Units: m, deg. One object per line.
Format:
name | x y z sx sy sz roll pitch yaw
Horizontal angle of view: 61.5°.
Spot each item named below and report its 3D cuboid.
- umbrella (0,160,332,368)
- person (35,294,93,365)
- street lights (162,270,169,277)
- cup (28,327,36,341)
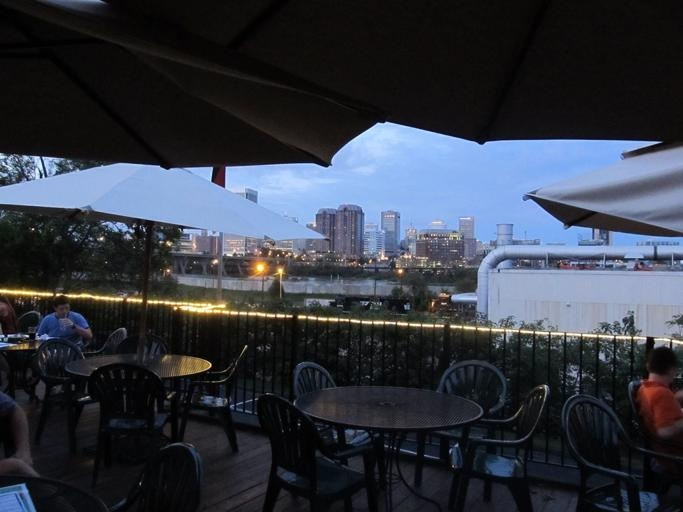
umbrella | -1.943 -0.371 6.200 2.483 1.716 2.504 12 -7 -28
person | -3.923 1.029 8.037 0.673 0.916 0.498 -5 10 -30
street lights | -5.326 0.496 17.446 0.198 0.216 0.179 -18 -24 31
cup | -4.137 1.041 7.660 0.109 0.183 0.112 -2 -8 0
